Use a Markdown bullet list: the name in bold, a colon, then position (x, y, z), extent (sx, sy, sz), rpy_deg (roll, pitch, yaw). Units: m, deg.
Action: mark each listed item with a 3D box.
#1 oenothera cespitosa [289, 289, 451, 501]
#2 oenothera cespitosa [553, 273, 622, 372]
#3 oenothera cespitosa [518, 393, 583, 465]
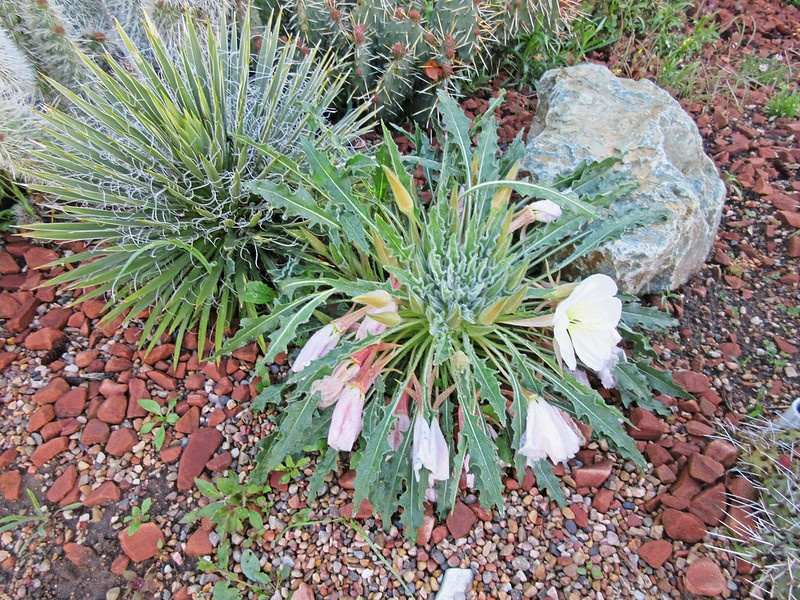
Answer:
- **oenothera cespitosa**: position (-0.082, 0.344, 1.925), extent (0.633, 0.689, 0.277), rpy_deg (-17, 31, 11)
- **oenothera cespitosa**: position (0.614, 0.071, 1.842), extent (0.275, 0.317, 0.147), rpy_deg (-32, 30, -11)
- **oenothera cespitosa**: position (0.523, 0.470, 1.829), extent (0.214, 0.076, 0.260), rpy_deg (-21, 83, -6)
